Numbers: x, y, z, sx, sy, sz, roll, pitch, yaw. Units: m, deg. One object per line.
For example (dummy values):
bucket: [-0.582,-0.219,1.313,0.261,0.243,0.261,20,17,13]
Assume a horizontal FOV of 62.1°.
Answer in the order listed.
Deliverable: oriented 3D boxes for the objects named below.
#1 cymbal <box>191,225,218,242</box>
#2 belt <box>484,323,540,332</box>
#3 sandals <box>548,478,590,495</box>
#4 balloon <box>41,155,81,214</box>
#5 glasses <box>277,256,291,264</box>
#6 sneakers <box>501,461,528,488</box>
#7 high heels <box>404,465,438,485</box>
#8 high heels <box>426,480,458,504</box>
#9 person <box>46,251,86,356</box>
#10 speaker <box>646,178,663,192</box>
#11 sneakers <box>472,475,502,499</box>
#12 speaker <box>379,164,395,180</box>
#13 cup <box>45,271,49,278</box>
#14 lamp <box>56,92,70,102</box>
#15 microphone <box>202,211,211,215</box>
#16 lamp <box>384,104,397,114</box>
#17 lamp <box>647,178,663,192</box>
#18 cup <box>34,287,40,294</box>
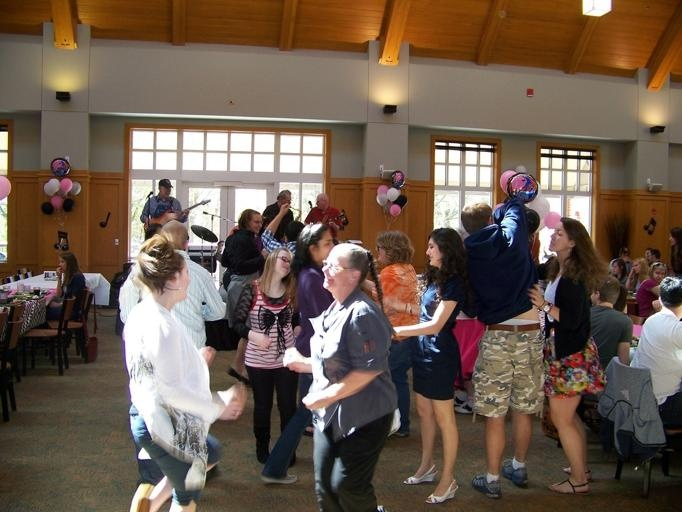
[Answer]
cymbal: [-2.146,-0.410,8.929,0.315,0.122,0.323,-7,-38,44]
belt: [1.288,0.528,4.220,0.377,0.064,0.061,1,3,-1]
sandals: [1.771,1.792,4.428,0.229,0.091,0.126,2,-6,14]
balloon: [-5.386,-1.353,10.806,0.720,1.110,0.398,2,3,4]
glasses: [-0.441,0.023,4.415,0.099,0.058,0.015,0,3,-22]
sneakers: [1.388,1.750,4.556,0.098,0.127,0.262,-2,2,-9]
high heels: [0.637,1.763,4.561,0.307,0.145,0.109,-1,-2,-5]
high heels: [0.763,1.788,4.314,0.302,0.142,0.106,1,-2,-18]
person: [-3.808,0.545,7.686,0.646,1.178,0.419,1,8,-43]
speaker: [7.099,-1.609,12.747,0.205,0.415,0.393,1,2,-12]
sneakers: [1.121,1.768,4.379,0.100,0.111,0.233,-2,8,-22]
speaker: [0.912,-1.695,11.476,0.256,0.293,0.367,6,3,2]
cup: [-4.760,0.294,9.160,0.080,0.119,0.084,-1,-3,0]
lamp: [-5.250,-3.052,10.716,0.243,0.175,0.234,0,4,-18]
microphone: [-2.629,-0.850,11.048,0.052,0.100,0.359,3,9,-29]
lamp: [0.981,-2.975,11.334,0.292,0.164,0.211,2,-6,-6]
lamp: [7.029,-1.615,12.742,0.355,0.346,0.200,1,0,28]
cup: [-4.062,0.460,7.555,0.083,0.067,0.117,-2,11,-15]
